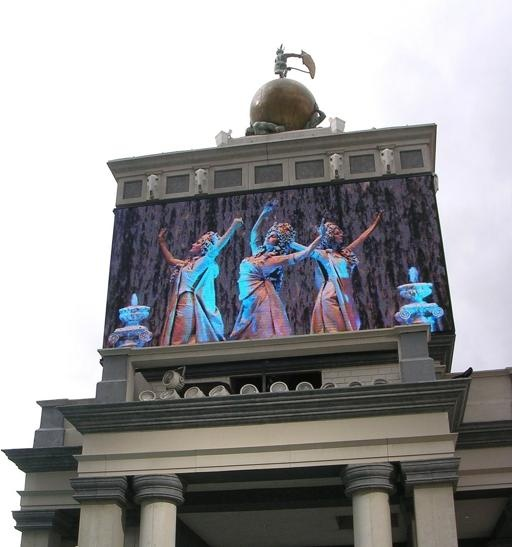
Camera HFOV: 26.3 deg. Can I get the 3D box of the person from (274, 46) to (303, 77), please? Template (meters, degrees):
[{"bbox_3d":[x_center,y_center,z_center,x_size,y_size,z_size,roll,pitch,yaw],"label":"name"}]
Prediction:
[{"bbox_3d":[1.186,-9.501,49.668,0.683,2.136,0.813,9,-46,-8],"label":"person"}]
